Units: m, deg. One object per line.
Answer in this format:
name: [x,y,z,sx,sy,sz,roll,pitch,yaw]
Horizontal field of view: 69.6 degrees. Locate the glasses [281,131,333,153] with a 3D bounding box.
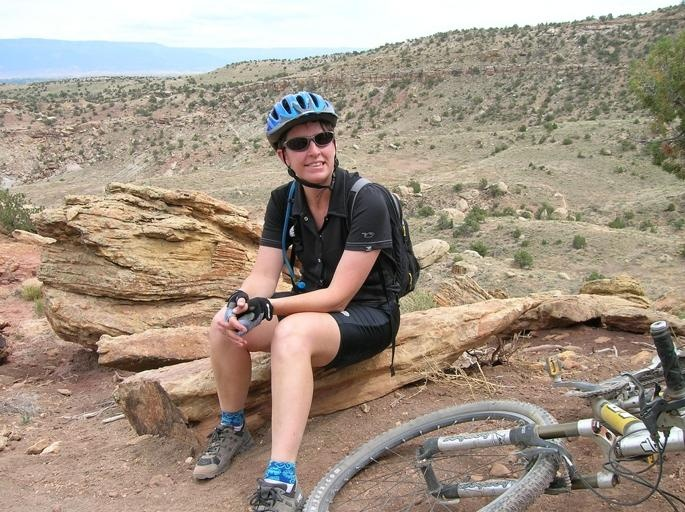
glasses: [-0.268,-0.891,3.833,0.408,0.139,0.143,-9,7,-1]

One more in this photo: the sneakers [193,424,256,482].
sneakers: [-0.932,1.547,3.999,0.235,0.242,0.624,0,13,34]
